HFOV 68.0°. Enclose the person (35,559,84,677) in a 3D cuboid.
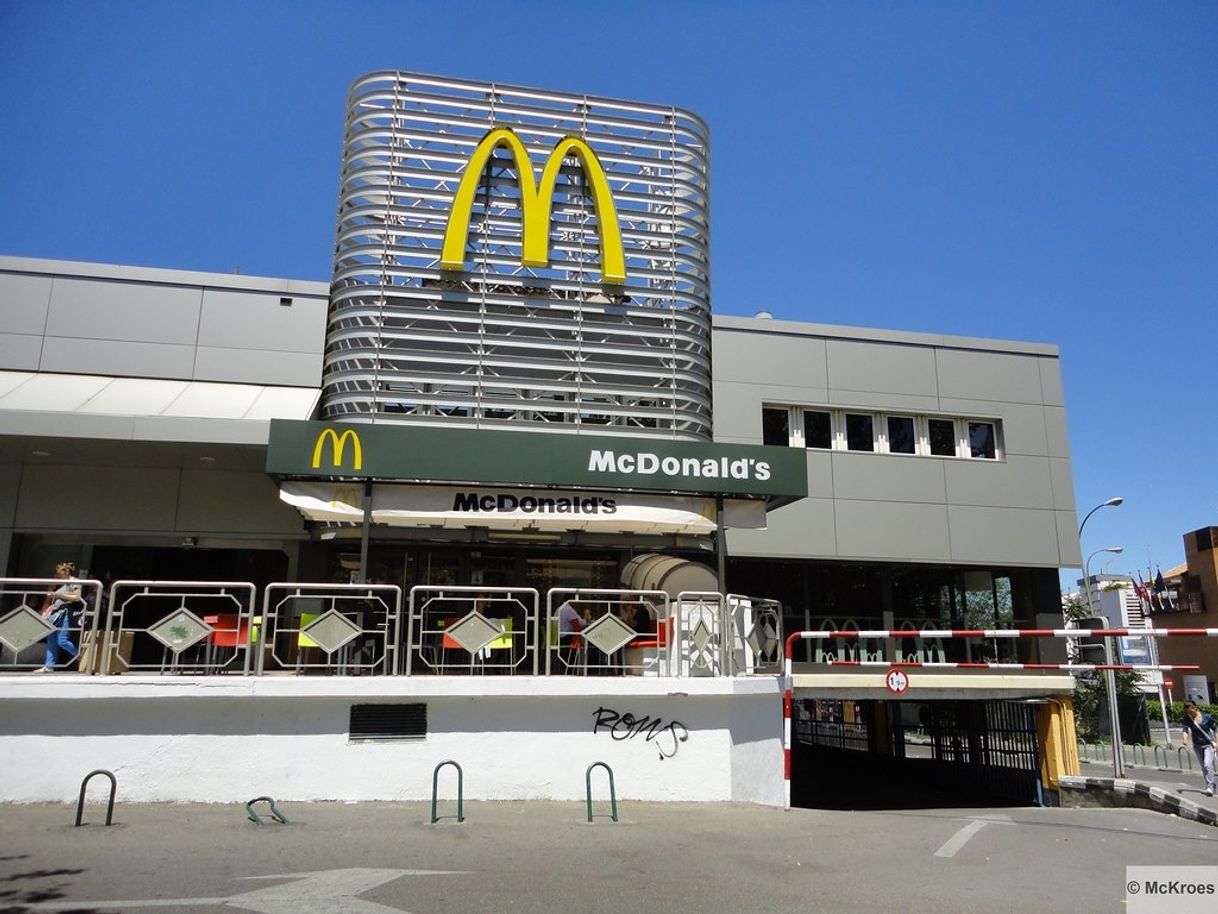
[{"bbox_3d":[-7.673,2.293,12.620,0.477,1.473,2.121,8,-11,-30],"label":"person"}]
